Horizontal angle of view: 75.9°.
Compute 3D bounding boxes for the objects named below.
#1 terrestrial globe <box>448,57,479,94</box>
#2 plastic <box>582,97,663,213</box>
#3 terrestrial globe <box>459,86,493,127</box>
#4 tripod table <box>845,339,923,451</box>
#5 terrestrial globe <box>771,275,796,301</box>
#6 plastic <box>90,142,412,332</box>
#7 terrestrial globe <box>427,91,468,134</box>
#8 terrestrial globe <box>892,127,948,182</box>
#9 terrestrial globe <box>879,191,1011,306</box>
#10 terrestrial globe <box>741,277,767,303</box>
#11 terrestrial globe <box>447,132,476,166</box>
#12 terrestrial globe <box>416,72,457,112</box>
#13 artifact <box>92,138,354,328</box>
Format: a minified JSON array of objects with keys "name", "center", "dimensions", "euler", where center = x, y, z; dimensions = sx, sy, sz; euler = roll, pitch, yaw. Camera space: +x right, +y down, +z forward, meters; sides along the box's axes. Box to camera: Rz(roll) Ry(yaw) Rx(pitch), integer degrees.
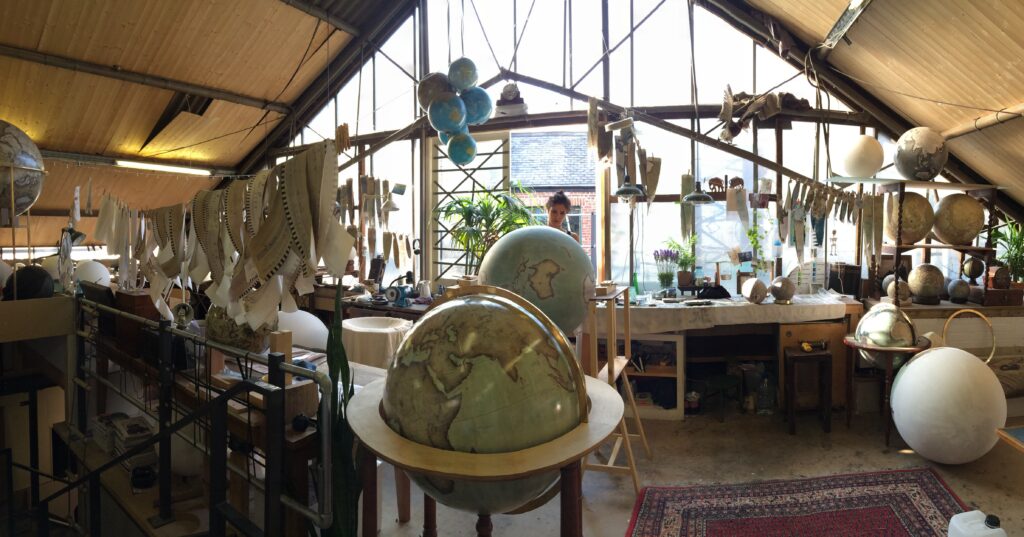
[{"name":"terrestrial globe","center":[-0.682,-2.594,8.819],"dimensions":[0.402,0.450,0.394],"euler":[-3,11,-19]},{"name":"plastic","center":[1.649,-1.694,9.551],"dimensions":[1.137,0.673,2.066],"euler":[-4,-42,12]},{"name":"terrestrial globe","center":[-0.495,-2.201,9.059],"dimensions":[0.517,0.580,0.476],"euler":[-6,7,-32]},{"name":"tripod table","center":[4.737,1.529,8.843],"dimensions":[0.930,1.030,0.968],"euler":[20,12,14]},{"name":"terrestrial globe","center":[3.802,0.283,9.353],"dimensions":[0.328,0.365,0.323],"euler":[7,1,14]},{"name":"plastic","center":[-3.224,-0.377,8.386],"dimensions":[3.098,1.809,0.802],"euler":[-14,-10,23]},{"name":"terrestrial globe","center":[-0.856,-2.058,8.691],"dimensions":[0.498,0.560,0.470],"euler":[-1,7,-15]},{"name":"terrestrial globe","center":[5.789,-1.638,9.291],"dimensions":[0.719,0.822,0.716],"euler":[-1,26,26]},{"name":"terrestrial globe","center":[6.229,-0.282,9.467],"dimensions":[1.627,1.403,0.983],"euler":[0,8,9]},{"name":"terrestrial globe","center":[3.394,0.360,9.458],"dimensions":[0.361,0.367,0.331],"euler":[4,-20,-4]},{"name":"terrestrial globe","center":[-0.711,-1.638,9.018],"dimensions":[0.415,0.466,0.406],"euler":[0,9,-17]},{"name":"terrestrial globe","center":[-1.055,-2.373,9.029],"dimensions":[0.494,0.586,0.522],"euler":[2,-3,33]},{"name":"artifact","center":[-3.604,-0.430,7.986],"dimensions":[3.431,2.055,0.867],"euler":[-3,5,27]}]
